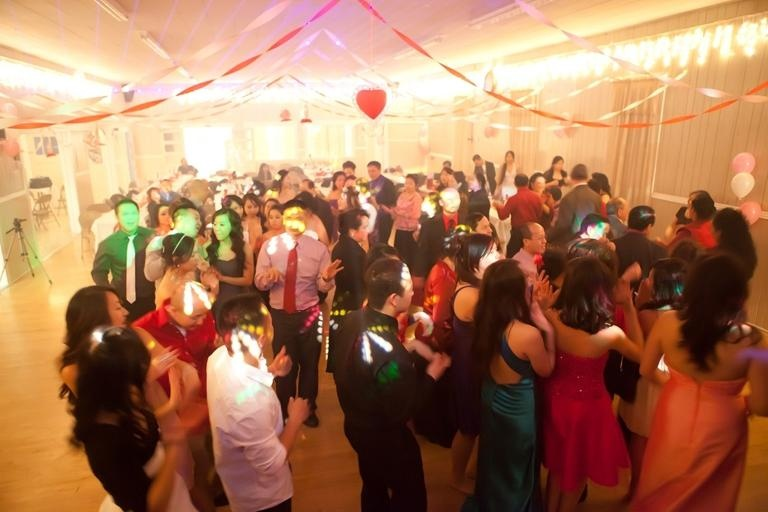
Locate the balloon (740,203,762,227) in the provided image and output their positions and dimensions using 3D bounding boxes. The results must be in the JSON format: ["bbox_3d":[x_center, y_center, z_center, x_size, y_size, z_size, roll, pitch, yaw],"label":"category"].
[{"bbox_3d":[4.375,-0.518,5.693,0.378,0.168,0.165,19,5,-37],"label":"balloon"}]

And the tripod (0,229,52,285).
[{"bbox_3d":[-6.804,-0.099,9.026,0.592,0.973,1.307,-9,14,-36],"label":"tripod"}]
